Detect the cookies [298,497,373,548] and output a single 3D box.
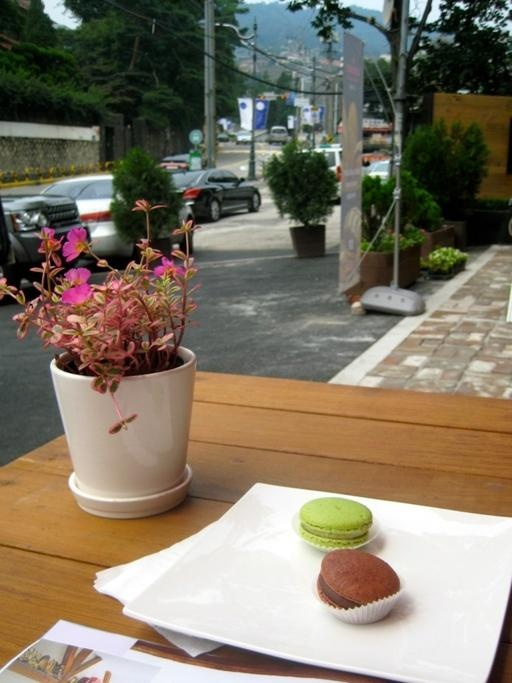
[{"bbox_3d":[0.102,0.246,0.782,0.103,0.044,0.099,4,6,8],"label":"cookies"}]
